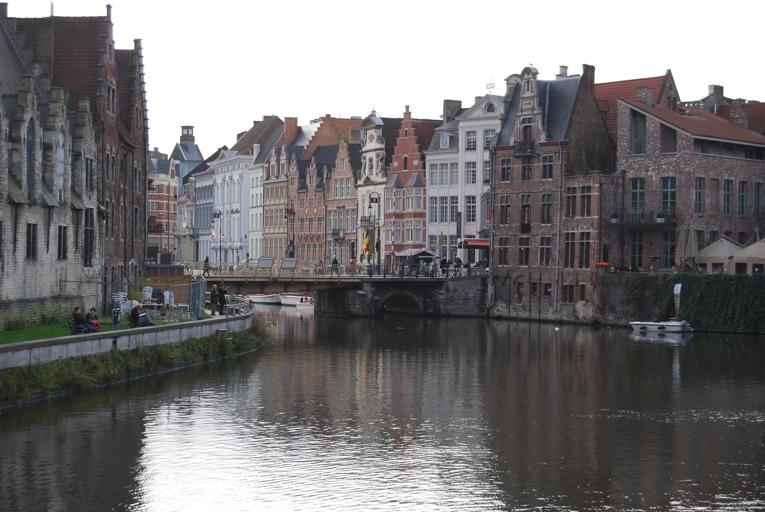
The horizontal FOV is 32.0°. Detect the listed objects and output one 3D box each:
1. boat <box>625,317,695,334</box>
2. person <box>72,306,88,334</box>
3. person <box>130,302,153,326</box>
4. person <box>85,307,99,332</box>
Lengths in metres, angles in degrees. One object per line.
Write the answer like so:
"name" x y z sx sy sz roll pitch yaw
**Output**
"boat" 20.367 4.978 97.769 4.785 1.102 1.401 2 -3 33
"person" -15.420 3.345 67.908 1.086 1.545 1.020 -3 6 -16
"person" -12.763 3.207 70.225 1.020 1.124 1.829 1 6 -3
"person" -14.929 3.347 68.491 0.739 1.543 0.831 10 -19 -40
